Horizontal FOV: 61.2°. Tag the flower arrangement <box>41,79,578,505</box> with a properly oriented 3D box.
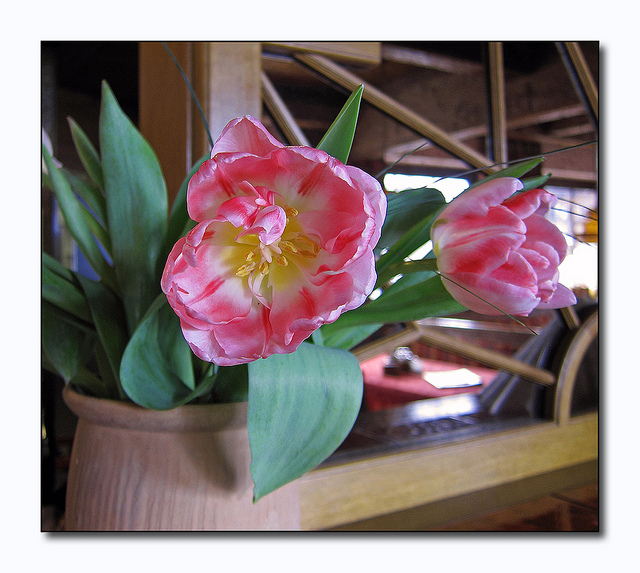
[{"bbox_3d":[0.031,0.002,0.518,0.410,0.199,0.392,11,8,25],"label":"flower arrangement"}]

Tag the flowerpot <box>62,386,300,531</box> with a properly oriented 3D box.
[{"bbox_3d":[-0.123,0.117,0.477,0.149,0.103,0.152,1,-6,38],"label":"flowerpot"}]
